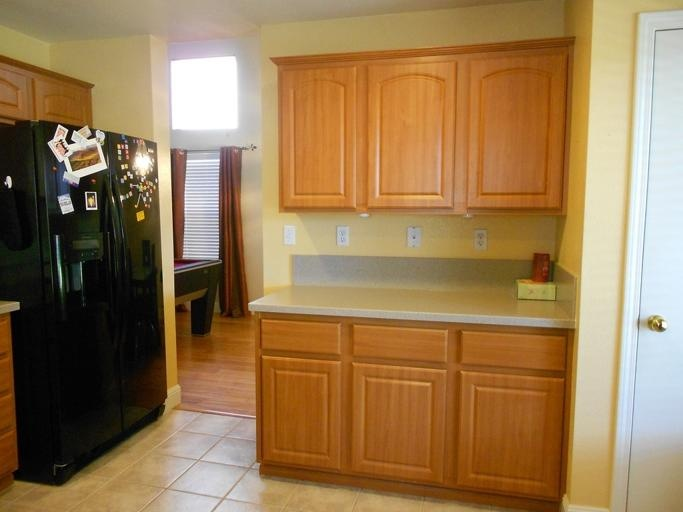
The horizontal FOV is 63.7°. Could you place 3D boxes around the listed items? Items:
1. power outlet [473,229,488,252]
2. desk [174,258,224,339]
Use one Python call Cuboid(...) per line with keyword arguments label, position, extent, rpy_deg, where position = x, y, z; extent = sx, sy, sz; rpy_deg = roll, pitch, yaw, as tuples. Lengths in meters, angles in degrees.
Cuboid(label="power outlet", position=(0.908, -0.099, 3.601), extent=(0.087, 0.141, 0.016), rpy_deg=(-2, 10, 10))
Cuboid(label="desk", position=(-1.574, 0.502, 5.974), extent=(0.469, 0.395, 0.632), rpy_deg=(7, -28, -41))
